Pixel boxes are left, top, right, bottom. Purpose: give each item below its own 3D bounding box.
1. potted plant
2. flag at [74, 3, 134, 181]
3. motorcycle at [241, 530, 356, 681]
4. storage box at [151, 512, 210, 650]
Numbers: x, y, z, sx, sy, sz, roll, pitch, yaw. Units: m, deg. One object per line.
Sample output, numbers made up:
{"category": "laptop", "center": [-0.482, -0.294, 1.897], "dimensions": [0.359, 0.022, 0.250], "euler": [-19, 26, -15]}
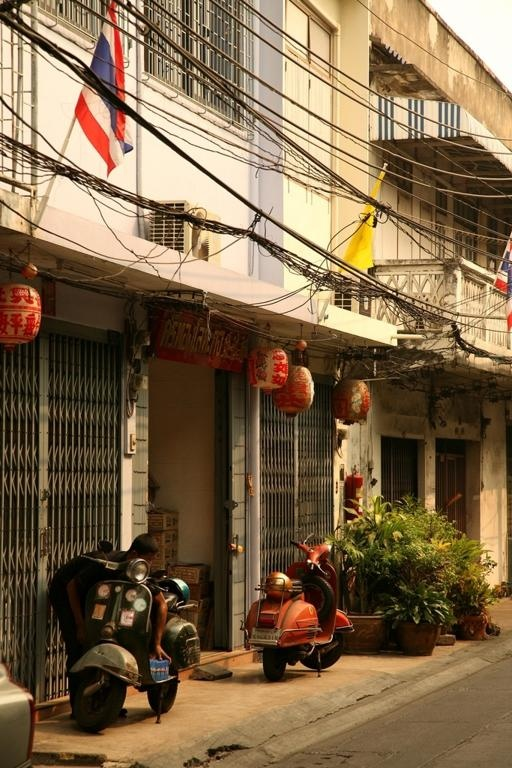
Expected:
{"category": "potted plant", "center": [2.114, 2.201, 13.983], "dimensions": [1.589, 1.641, 3.056], "euler": [-1, -5, 37]}
{"category": "flag", "center": [-1.063, -2.270, 8.332], "dimensions": [0.390, 1.495, 1.742], "euler": [2, -4, -6]}
{"category": "motorcycle", "center": [0.370, 2.111, 10.943], "dimensions": [0.694, 1.224, 1.414], "euler": [0, -4, 22]}
{"category": "storage box", "center": [-0.726, 2.066, 12.529], "dimensions": [0.618, 1.458, 0.587], "euler": [2, -1, 38]}
